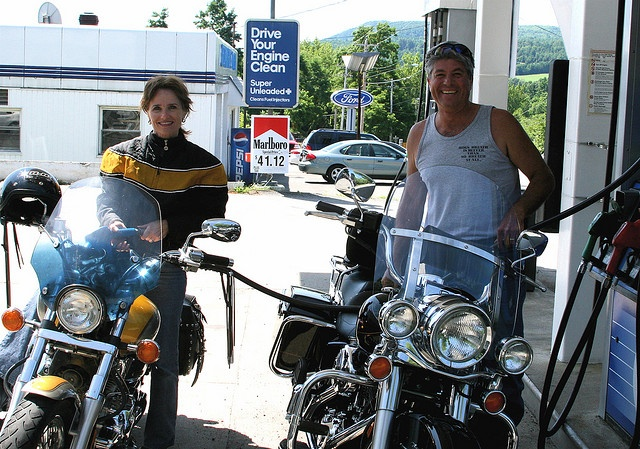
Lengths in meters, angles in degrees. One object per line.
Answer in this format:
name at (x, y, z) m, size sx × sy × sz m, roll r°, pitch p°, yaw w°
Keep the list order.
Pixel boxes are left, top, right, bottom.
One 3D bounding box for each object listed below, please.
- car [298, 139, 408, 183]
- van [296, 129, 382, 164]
car at (1.546, -2.451, 20.317) m, size 4.564 × 1.729 × 2.174 m, roll -4°, pitch 9°, yaw -15°
van at (0.884, -3.978, 25.340) m, size 3.831 × 1.856 × 1.896 m, roll -6°, pitch 10°, yaw -13°
